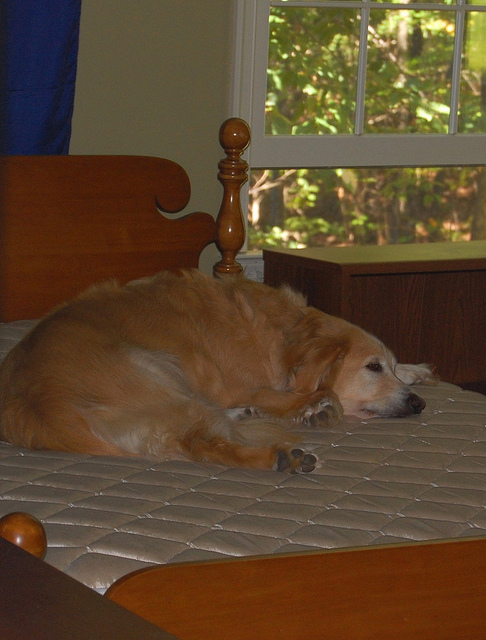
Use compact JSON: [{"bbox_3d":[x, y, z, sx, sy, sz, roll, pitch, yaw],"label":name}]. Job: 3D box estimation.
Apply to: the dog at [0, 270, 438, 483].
[{"bbox_3d":[-0.097,0.139,1.832,0.917,0.232,0.632,-1,8,-21],"label":"dog"}]
